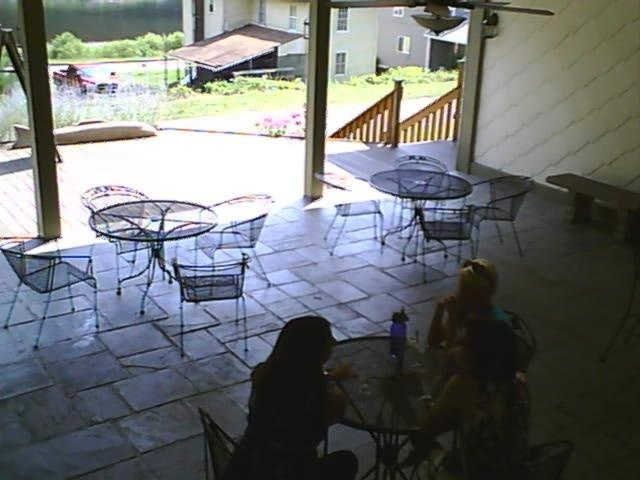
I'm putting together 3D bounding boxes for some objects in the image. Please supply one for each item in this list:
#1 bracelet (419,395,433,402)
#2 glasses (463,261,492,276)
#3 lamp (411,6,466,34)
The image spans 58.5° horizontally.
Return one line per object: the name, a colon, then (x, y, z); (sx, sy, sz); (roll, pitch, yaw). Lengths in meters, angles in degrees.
bracelet: (0.658, 0.973, 3.497); (0.040, 0.024, 0.036); (0, 3, -11)
glasses: (1.195, 0.217, 4.319); (0.124, 0.133, 0.149); (20, 42, -5)
lamp: (0.953, -1.874, 4.801); (0.316, 0.159, 0.314); (26, 37, 33)
